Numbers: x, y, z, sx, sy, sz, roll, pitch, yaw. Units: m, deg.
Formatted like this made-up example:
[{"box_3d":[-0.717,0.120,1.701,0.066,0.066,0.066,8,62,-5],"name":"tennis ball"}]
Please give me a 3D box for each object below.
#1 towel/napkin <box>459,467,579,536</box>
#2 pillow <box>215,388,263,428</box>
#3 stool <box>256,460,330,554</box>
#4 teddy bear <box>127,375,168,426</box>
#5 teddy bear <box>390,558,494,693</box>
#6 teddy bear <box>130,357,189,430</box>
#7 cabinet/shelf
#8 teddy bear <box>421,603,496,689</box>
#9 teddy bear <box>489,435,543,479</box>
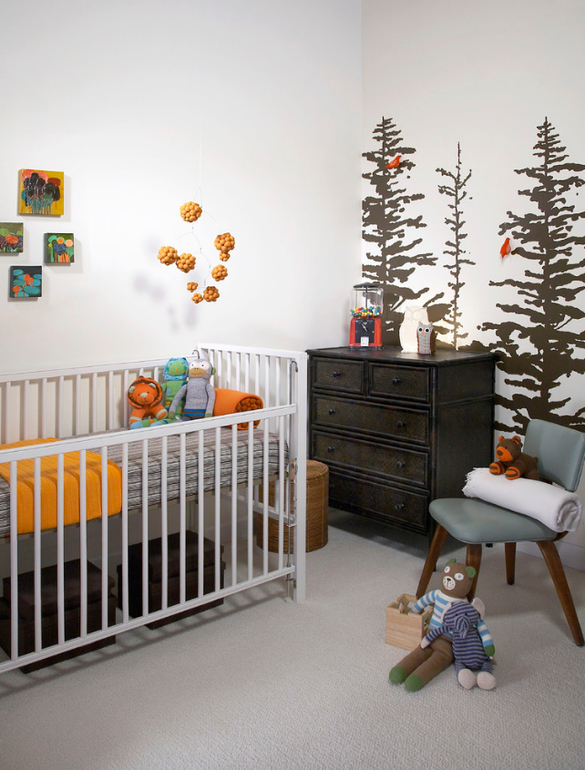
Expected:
[{"box_3d":[0.783,0.401,2.230,0.134,0.163,0.452,-2,5,-26],"name":"towel/napkin"},{"box_3d":[-0.229,0.087,2.527,0.147,0.061,0.179,-4,6,-21],"name":"pillow"},{"box_3d":[0.023,0.529,2.868,0.384,0.409,0.371,0,5,-3],"name":"stool"},{"box_3d":[-0.600,0.071,2.578,0.166,0.227,0.158,-11,12,-28],"name":"teddy bear"},{"box_3d":[0.439,0.696,1.929,0.303,0.275,0.435,-6,10,9],"name":"teddy bear"},{"box_3d":[-0.538,0.023,2.612,0.270,0.330,0.216,1,13,-25],"name":"teddy bear"},{"box_3d":[0.511,0.248,3.122,0.507,0.840,0.806,-7,10,-39],"name":"cabinet/shelf"},{"box_3d":[0.487,0.757,1.839,0.173,0.076,0.262,-21,38,7],"name":"teddy bear"},{"box_3d":[0.803,0.259,2.301,0.178,0.138,0.127,11,-17,-32],"name":"teddy bear"}]
